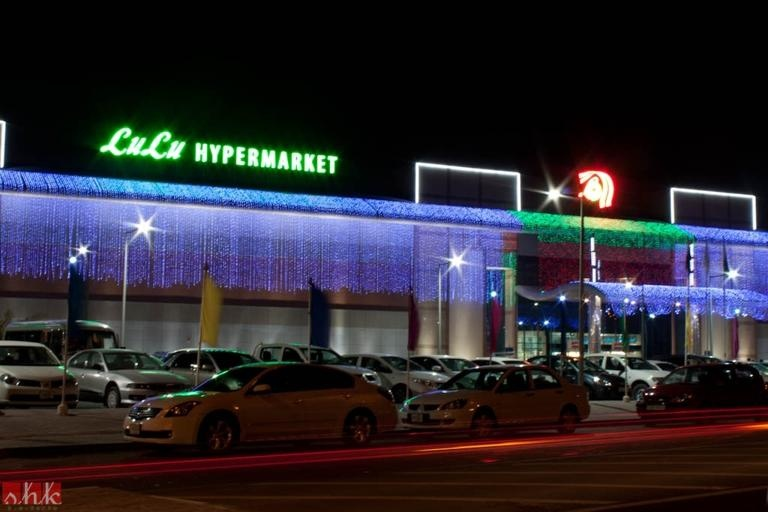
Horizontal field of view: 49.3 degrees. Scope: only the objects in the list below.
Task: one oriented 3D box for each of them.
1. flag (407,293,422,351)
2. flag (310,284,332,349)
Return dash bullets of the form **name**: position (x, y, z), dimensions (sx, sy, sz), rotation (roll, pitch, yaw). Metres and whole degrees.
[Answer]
- **flag**: position (1.176, 2.596, 35.104), dimensions (0.311, 2.861, 0.656), rotation (0, -5, -2)
- **flag**: position (-2.358, 2.261, 29.879), dimensions (0.763, 2.948, 0.231), rotation (2, 32, -4)
